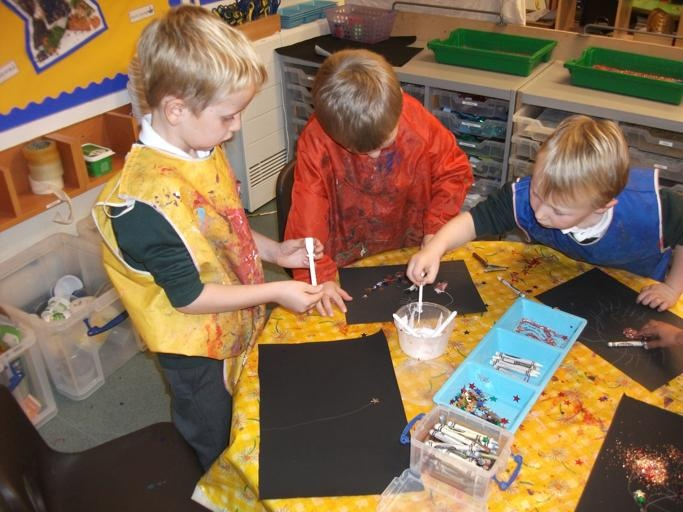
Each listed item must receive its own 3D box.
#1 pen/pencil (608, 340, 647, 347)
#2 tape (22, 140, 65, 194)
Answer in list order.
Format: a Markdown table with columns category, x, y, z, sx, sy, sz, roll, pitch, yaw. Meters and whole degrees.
| category | x | y | z | sx | sy | sz | roll | pitch | yaw |
| --- | --- | --- | --- | --- | --- | --- | --- | --- | --- |
| pen/pencil | 0.777 | 0.239 | 1.406 | 0.074 | 0.015 | 0.016 | 0 | -4 | 3 |
| tape | -1.327 | -0.400 | 2.347 | 0.163 | 0.222 | 0.138 | 6 | 33 | 7 |
